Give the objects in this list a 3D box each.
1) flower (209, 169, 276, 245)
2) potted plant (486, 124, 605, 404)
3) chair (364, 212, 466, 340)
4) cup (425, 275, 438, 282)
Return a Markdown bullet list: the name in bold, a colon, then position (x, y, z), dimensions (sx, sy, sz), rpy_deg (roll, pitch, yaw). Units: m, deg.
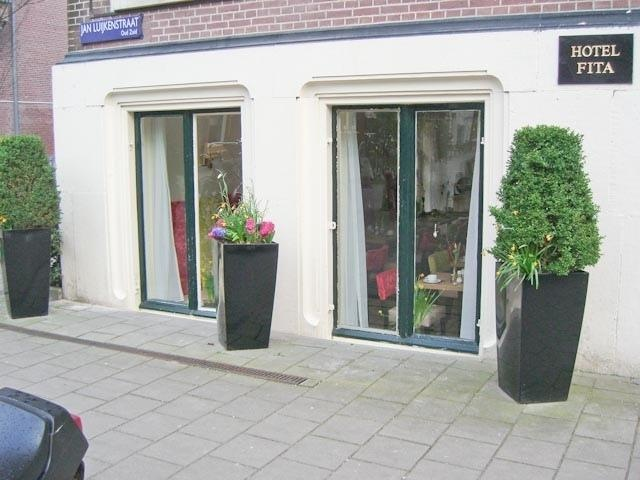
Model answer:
- **flower**: position (-0.897, -0.341, 6.630), dimensions (0.781, 0.808, 0.542), rpy_deg (3, -11, -39)
- **potted plant**: position (2.050, 0.270, 4.988), dimensions (0.930, 2.650, 0.582), rpy_deg (3, 8, 18)
- **chair**: position (1.235, 0.436, 6.671), dimensions (1.368, 1.377, 0.761), rpy_deg (5, 8, 39)
- **cup**: position (1.381, 0.473, 6.640), dimensions (0.110, 0.056, 0.080), rpy_deg (-2, 4, 15)
